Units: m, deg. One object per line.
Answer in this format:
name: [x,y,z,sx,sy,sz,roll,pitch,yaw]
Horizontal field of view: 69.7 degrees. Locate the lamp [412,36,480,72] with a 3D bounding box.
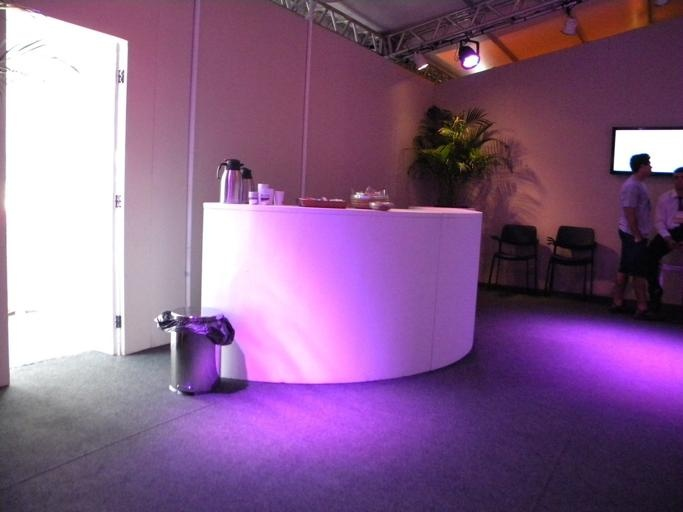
lamp: [1.690,-3.108,7.549,0.886,0.493,1.302,6,15,17]

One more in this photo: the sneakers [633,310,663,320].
sneakers: [3.723,0.705,5.866,0.437,0.151,0.161,2,-5,-27]

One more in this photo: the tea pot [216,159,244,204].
tea pot: [-0.867,-0.586,3.860,0.180,0.328,0.398,-1,14,-12]

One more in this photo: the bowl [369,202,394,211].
bowl: [0.306,-0.392,3.844,0.163,0.067,0.108,3,14,3]

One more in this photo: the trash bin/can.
trash bin/can: [-1.033,0.704,3.792,0.523,0.761,0.497,2,-3,-7]

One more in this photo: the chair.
chair: [2.973,0.061,7.277,1.470,1.096,0.616,10,15,31]

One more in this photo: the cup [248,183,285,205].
cup: [-0.589,-0.480,3.879,0.237,0.168,0.171,2,5,20]
